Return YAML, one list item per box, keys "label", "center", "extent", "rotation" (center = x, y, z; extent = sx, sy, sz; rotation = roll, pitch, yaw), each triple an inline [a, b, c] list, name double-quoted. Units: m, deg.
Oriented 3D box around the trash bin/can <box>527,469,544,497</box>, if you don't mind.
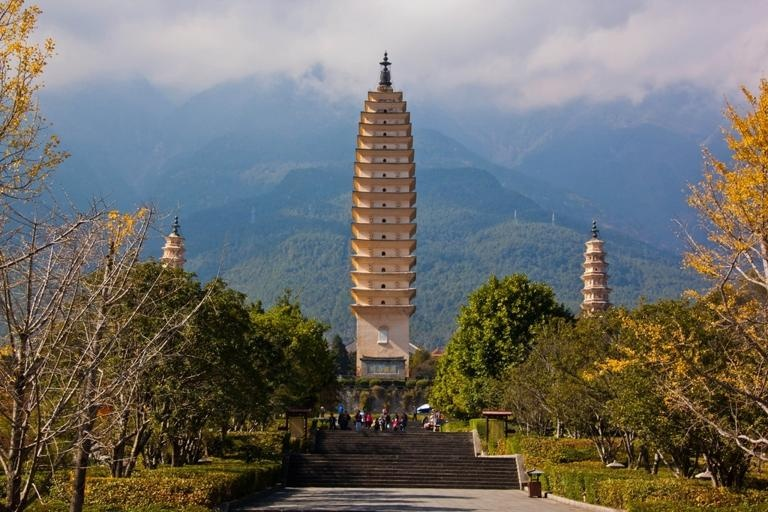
- label: "trash bin/can"
  center: [6.896, 10.430, 49.746]
  extent: [1.127, 1.330, 1.132]
  rotation: [1, -10, -6]
